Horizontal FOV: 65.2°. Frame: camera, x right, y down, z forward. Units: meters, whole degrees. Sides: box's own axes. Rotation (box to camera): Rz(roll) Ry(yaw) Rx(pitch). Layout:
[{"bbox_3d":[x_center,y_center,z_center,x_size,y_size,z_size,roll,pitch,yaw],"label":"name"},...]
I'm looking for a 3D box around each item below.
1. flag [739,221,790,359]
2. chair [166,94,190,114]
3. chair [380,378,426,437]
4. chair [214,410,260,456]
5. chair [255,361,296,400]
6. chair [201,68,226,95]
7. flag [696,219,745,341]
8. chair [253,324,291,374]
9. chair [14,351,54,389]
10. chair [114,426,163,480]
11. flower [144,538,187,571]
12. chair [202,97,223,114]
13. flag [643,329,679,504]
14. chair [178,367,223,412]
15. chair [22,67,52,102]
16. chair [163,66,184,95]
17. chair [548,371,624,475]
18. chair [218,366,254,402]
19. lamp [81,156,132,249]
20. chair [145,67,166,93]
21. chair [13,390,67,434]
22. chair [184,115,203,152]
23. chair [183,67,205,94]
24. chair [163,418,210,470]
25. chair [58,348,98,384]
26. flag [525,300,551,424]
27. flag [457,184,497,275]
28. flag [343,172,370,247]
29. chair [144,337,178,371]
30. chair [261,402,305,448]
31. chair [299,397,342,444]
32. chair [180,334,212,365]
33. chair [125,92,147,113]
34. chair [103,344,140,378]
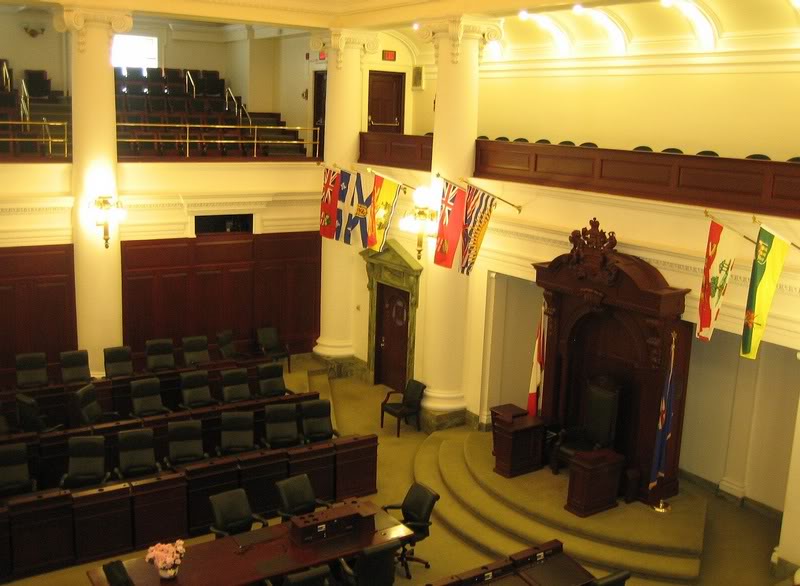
[{"bbox_3d":[4.593,-0.015,7.867,0.415,1.632,0.466,6,12,31],"label":"flag"},{"bbox_3d":[-6.299,-5.339,17.731,0.623,0.457,0.510,-5,11,-19],"label":"chair"},{"bbox_3d":[-0.007,2.299,13.036,0.760,1.080,0.921,-8,13,-33],"label":"chair"},{"bbox_3d":[-2.794,2.347,10.689,0.553,0.863,0.684,0,10,-10],"label":"chair"},{"bbox_3d":[-2.582,1.715,12.740,0.573,0.848,0.655,-3,2,-21],"label":"chair"},{"bbox_3d":[-5.658,-6.324,18.950,0.715,1.014,0.740,-4,8,-30],"label":"chair"},{"bbox_3d":[4.300,-0.199,8.520,0.416,1.591,0.447,-9,14,-38],"label":"flag"},{"bbox_3d":[-3.197,1.368,15.528,0.908,1.414,1.053,-4,10,-28],"label":"chair"},{"bbox_3d":[-7.357,1.503,12.512,0.571,0.839,0.669,-2,1,-29],"label":"chair"},{"bbox_3d":[-4.210,2.539,9.963,0.647,0.947,0.796,-1,0,-19],"label":"chair"},{"bbox_3d":[-2.798,3.064,7.264,0.477,0.165,0.386,10,14,34],"label":"flower"},{"bbox_3d":[-5.512,-5.468,18.172,0.524,0.485,0.653,8,14,39],"label":"chair"},{"bbox_3d":[4.129,1.972,9.720,0.369,2.865,0.299,-5,11,-19],"label":"flag"},{"bbox_3d":[-4.030,1.849,12.191,0.648,0.957,0.765,-3,1,-27],"label":"chair"},{"bbox_3d":[-9.770,-5.647,16.806,0.622,0.788,0.730,-6,12,-27],"label":"chair"},{"bbox_3d":[-6.621,-6.176,18.316,0.583,0.790,0.561,-5,11,-19],"label":"chair"},{"bbox_3d":[3.114,2.248,10.667,0.847,1.763,0.910,-5,11,-22],"label":"chair"},{"bbox_3d":[-3.235,1.775,12.249,0.518,0.761,0.617,-1,0,-23],"label":"chair"},{"bbox_3d":[-6.167,-1.788,12.921,0.746,1.739,0.335,-8,13,-33],"label":"lamp"},{"bbox_3d":[-7.128,-6.146,18.191,0.534,0.824,0.757,-5,11,-21],"label":"chair"},{"bbox_3d":[-6.438,2.085,11.075,0.537,0.771,0.647,12,14,30],"label":"chair"},{"bbox_3d":[-5.260,-3.930,15.844,0.479,1.022,3.172,-4,11,-17],"label":"chair"},{"bbox_3d":[-6.200,-6.269,18.579,0.629,0.831,0.559,7,13,35],"label":"chair"},{"bbox_3d":[-3.592,2.459,10.438,0.605,0.924,0.741,-1,3,-15],"label":"chair"},{"bbox_3d":[-6.498,1.433,12.563,0.575,0.826,0.667,-1,1,-28],"label":"chair"},{"bbox_3d":[2.427,1.163,11.149,0.331,2.112,0.477,-1,11,-1],"label":"flag"},{"bbox_3d":[1.288,-1.119,10.967,0.348,1.542,0.652,-11,15,-44],"label":"flag"},{"bbox_3d":[-0.901,-1.753,12.952,0.515,1.443,1.335,-6,12,-25],"label":"flag"},{"bbox_3d":[-5.176,1.322,13.404,0.549,0.762,0.655,-2,-9,-23],"label":"chair"},{"bbox_3d":[-2.096,2.302,11.044,0.583,0.886,0.738,0,1,-10],"label":"chair"},{"bbox_3d":[-1.511,2.276,11.333,0.580,0.879,0.753,-2,3,-18],"label":"chair"},{"bbox_3d":[-4.515,1.225,13.776,0.559,0.806,0.662,-2,-5,-27],"label":"chair"},{"bbox_3d":[-7.379,-5.308,17.472,0.511,0.511,0.700,-5,11,-21],"label":"chair"},{"bbox_3d":[-5.873,1.384,13.006,0.578,0.845,0.653,-2,1,-25],"label":"chair"}]
